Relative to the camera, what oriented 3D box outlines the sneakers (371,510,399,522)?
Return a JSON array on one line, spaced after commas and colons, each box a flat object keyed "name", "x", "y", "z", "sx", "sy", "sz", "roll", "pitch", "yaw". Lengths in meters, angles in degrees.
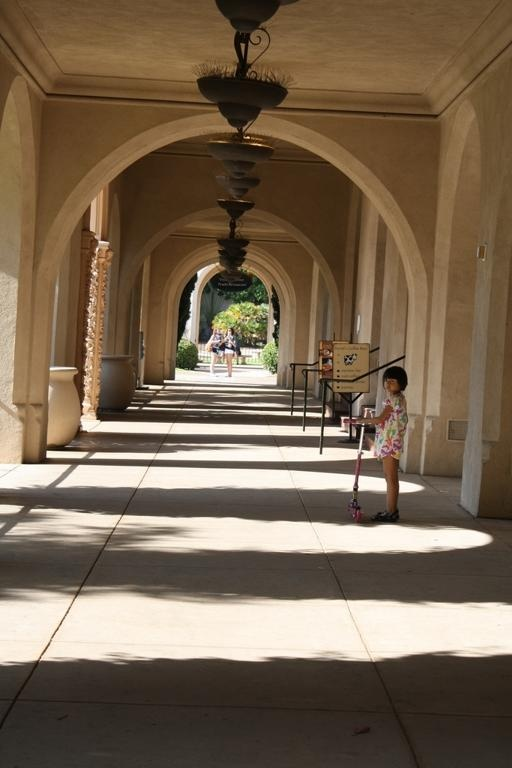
[{"name": "sneakers", "x": 1.191, "y": 1.210, "z": 5.595, "sx": 0.252, "sy": 0.109, "sz": 0.097, "roll": 5, "pitch": -3, "yaw": 7}]
